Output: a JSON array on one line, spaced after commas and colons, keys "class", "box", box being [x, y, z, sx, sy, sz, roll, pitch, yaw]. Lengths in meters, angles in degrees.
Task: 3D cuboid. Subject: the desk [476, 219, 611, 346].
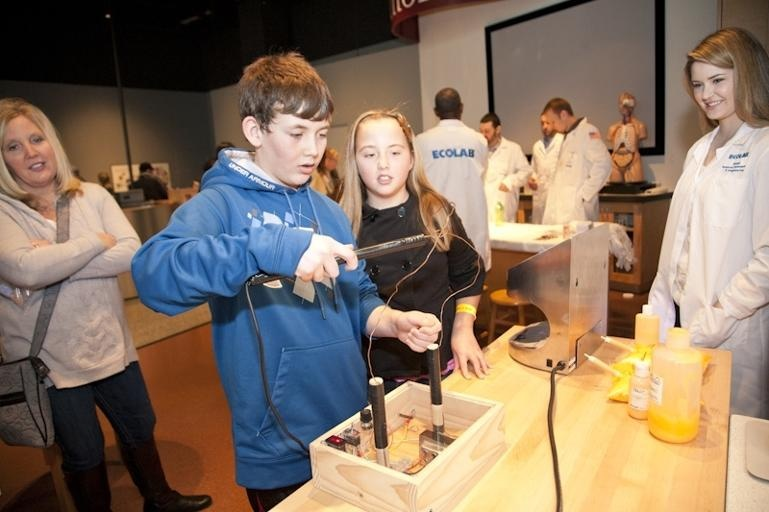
[{"class": "desk", "box": [1.227, -0.033, 4.547, 1.058, 1.051, 0.851, 7, 18, 42]}]

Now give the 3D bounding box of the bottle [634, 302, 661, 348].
[{"class": "bottle", "box": [1.176, 0.307, 2.562, 0.118, 0.180, 0.120, -2, 6, 0]}]
